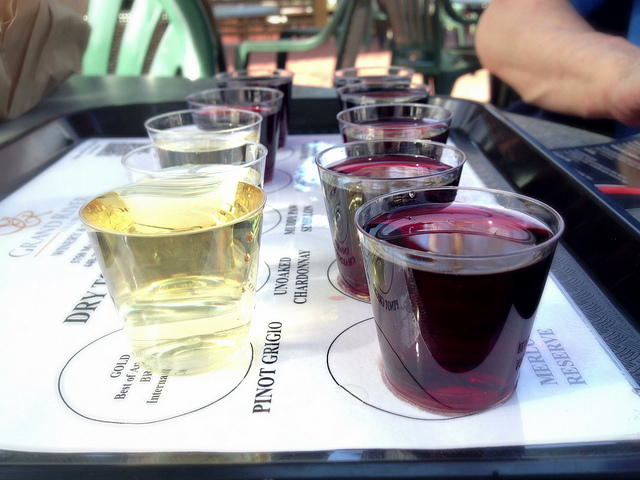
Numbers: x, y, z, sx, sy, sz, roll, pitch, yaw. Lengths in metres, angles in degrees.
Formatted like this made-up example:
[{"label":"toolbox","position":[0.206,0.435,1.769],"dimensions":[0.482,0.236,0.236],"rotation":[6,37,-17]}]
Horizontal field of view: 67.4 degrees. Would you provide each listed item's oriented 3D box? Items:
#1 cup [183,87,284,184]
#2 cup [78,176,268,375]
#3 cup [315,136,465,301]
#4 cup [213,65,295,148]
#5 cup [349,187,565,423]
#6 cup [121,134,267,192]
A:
[{"label":"cup","position":[-0.126,-0.166,0.816],"dimensions":[0.170,0.143,0.165],"rotation":[0,29,0]},{"label":"cup","position":[-0.130,0.035,0.437],"dimensions":[0.163,0.134,0.164],"rotation":[-2,16,1]},{"label":"cup","position":[0.065,-0.028,0.571],"dimensions":[0.182,0.164,0.177],"rotation":[-1,22,0]},{"label":"cup","position":[-0.107,-0.253,0.948],"dimensions":[0.188,0.177,0.185],"rotation":[1,23,0]},{"label":"cup","position":[0.115,0.049,0.407],"dimensions":[0.167,0.138,0.169],"rotation":[-3,18,1]},{"label":"cup","position":[-0.128,-0.096,0.494],"dimensions":[0.104,0.071,0.110],"rotation":[1,16,0]}]
